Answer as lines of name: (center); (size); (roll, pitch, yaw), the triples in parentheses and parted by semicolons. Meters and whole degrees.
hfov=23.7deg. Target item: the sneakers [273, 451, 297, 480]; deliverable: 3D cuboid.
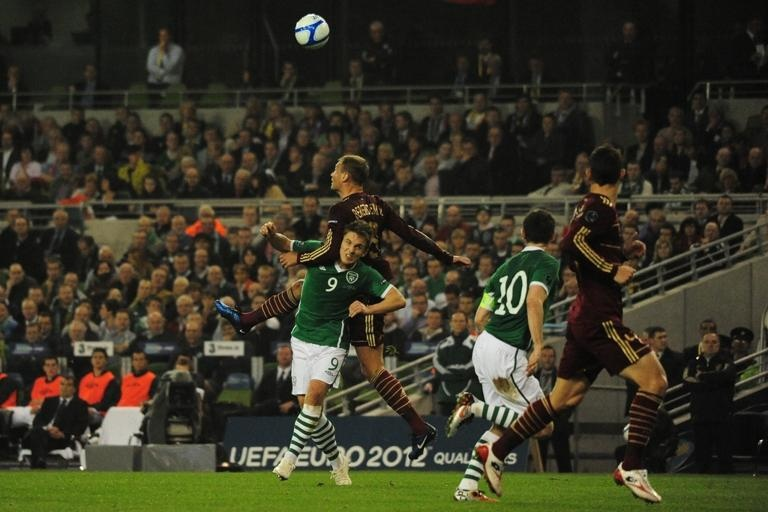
sneakers: (-1.570, 3.231, 27.612); (0.253, 0.278, 0.589); (32, -29, 15)

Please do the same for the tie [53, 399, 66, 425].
tie: (-5.603, 2.604, 31.503); (0.215, 0.364, 0.112); (3, -6, -20)

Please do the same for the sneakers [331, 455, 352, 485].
sneakers: (-0.642, 3.282, 27.885); (0.209, 0.552, 0.281); (-15, -12, 30)

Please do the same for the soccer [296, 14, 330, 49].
soccer: (-1.355, -3.977, 32.078); (0.606, 0.444, 0.589); (1, 12, -26)

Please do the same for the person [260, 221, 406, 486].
person: (-0.799, 1.459, 27.678); (1.564, 3.933, 0.712); (0, -5, 14)

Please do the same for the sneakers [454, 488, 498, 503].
sneakers: (1.313, 3.491, 26.909); (0.664, 0.269, 0.220); (1, -3, -1)
